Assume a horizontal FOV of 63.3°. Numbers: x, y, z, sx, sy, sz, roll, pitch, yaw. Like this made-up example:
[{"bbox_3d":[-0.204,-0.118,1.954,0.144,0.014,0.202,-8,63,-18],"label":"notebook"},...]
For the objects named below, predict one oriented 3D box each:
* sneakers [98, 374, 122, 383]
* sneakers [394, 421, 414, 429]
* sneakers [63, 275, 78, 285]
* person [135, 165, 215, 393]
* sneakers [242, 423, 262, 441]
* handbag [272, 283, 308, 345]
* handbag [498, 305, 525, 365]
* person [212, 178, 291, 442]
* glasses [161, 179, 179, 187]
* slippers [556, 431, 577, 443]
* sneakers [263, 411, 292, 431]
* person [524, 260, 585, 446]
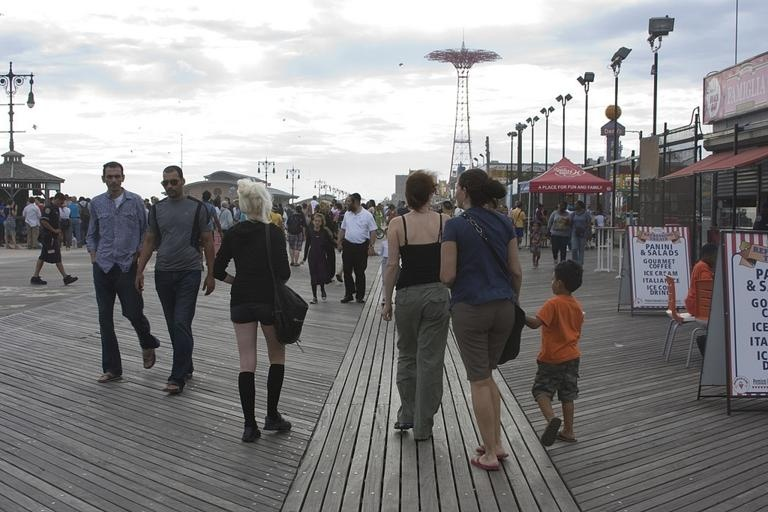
[{"bbox_3d":[-3.344,1.473,7.611,0.107,0.124,0.294,0,-6,40],"label":"sneakers"},{"bbox_3d":[0.209,1.672,6.215,0.183,0.097,0.071,-1,9,-5],"label":"sneakers"},{"bbox_3d":[-8.142,0.612,16.125,0.272,0.198,0.650,-2,7,-17],"label":"sneakers"},{"bbox_3d":[-2.438,0.229,7.461,0.767,2.574,0.798,-6,9,-44],"label":"person"},{"bbox_3d":[-1.266,1.679,5.991,0.195,0.151,0.173,-3,7,-24],"label":"sneakers"},{"bbox_3d":[-0.890,0.552,5.973,0.305,0.596,0.301,-1,7,-10],"label":"handbag"},{"bbox_3d":[1.219,0.713,5.641,0.314,0.477,0.399,-7,-13,25],"label":"handbag"},{"bbox_3d":[-1.255,0.501,6.082,0.657,2.463,0.733,-3,7,-30],"label":"person"},{"bbox_3d":[-2.499,-0.853,7.292,0.187,0.088,0.172,-2,8,-22],"label":"glasses"},{"bbox_3d":[1.774,1.743,6.013,0.083,0.089,0.184,-5,16,-38],"label":"slippers"},{"bbox_3d":[-1.057,1.643,6.216,0.271,0.169,0.139,-1,5,-22],"label":"sneakers"},{"bbox_3d":[1.644,0.909,5.962,0.461,1.713,0.926,3,7,21],"label":"person"}]
